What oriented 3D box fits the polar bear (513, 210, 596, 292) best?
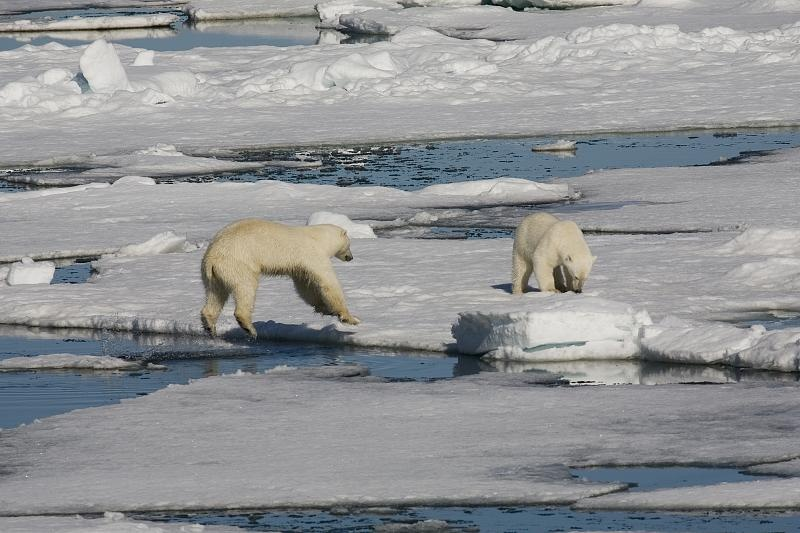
[{"bbox_3d":[2.086,-0.134,24.858,0.796,1.137,1.161,-16,17,-32],"label":"polar bear"}]
